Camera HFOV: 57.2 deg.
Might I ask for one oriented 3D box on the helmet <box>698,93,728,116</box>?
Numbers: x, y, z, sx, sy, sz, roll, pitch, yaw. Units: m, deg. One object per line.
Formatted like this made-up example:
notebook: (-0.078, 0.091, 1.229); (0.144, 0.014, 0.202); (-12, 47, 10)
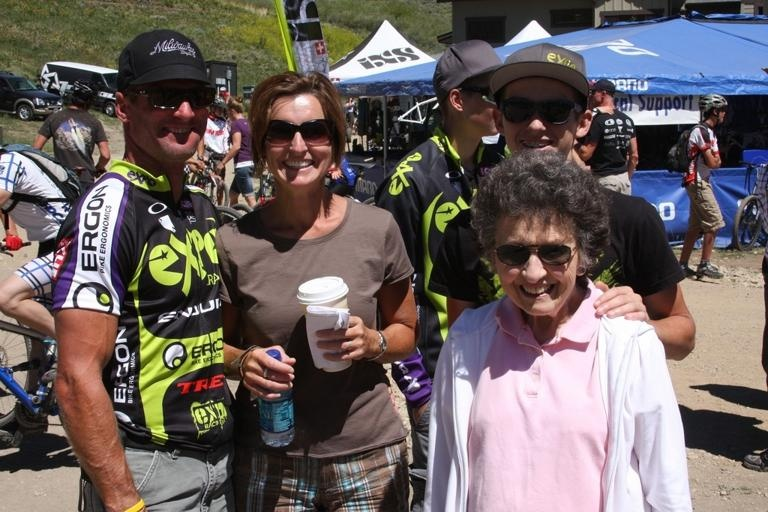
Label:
helmet: (4.943, -2.272, 10.839); (0.513, 0.337, 0.422); (11, 14, 19)

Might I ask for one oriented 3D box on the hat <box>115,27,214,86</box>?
hat: (-1.149, -1.016, 3.599); (0.305, 0.214, 0.393); (-8, 7, -36)

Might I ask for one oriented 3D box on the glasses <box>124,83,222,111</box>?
glasses: (-1.111, -0.812, 3.620); (0.372, 0.132, 0.113); (-3, 7, -22)

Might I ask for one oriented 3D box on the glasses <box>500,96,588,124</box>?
glasses: (0.862, -0.785, 3.833); (0.429, 0.150, 0.140); (1, 6, 13)

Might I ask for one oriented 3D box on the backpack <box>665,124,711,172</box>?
backpack: (4.616, -1.585, 10.887); (0.699, 0.734, 0.464); (8, 24, 20)

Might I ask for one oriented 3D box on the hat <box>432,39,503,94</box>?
hat: (0.507, -1.227, 4.537); (0.431, 0.239, 0.315); (-22, 10, 16)

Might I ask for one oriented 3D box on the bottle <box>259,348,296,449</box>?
bottle: (-0.550, 0.728, 3.598); (0.183, 0.554, 0.191); (0, 6, 0)

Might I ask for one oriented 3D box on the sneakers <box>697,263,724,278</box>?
sneakers: (4.863, 0.211, 10.582); (0.441, 0.287, 0.167); (-2, 6, 13)
